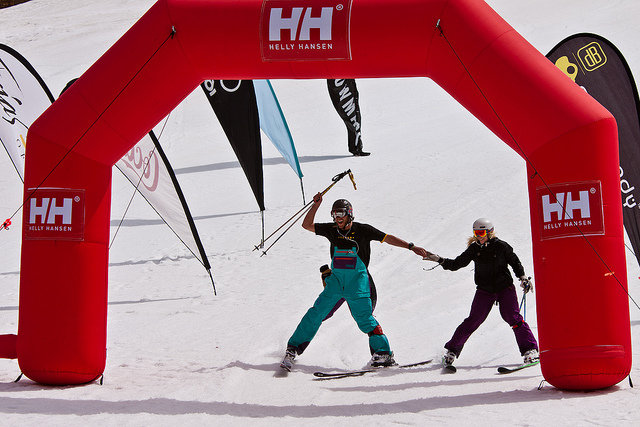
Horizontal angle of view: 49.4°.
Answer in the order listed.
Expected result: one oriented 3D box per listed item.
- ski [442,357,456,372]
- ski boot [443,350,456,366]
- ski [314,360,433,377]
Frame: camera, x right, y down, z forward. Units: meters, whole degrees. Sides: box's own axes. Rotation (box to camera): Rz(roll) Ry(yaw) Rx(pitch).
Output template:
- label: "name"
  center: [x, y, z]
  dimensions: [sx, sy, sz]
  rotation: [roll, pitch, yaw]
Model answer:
- label: "ski"
  center: [1.828, 2.132, 9.899]
  dimensions: [0.097, 0.125, 0.298]
  rotation: [-6, 8, -35]
- label: "ski boot"
  center: [1.858, 2.048, 9.968]
  dimensions: [0.179, 0.168, 0.050]
  rotation: [9, -9, -13]
- label: "ski"
  center: [0.774, 2.214, 9.992]
  dimensions: [1.464, 0.095, 0.160]
  rotation: [-2, -1, -19]
